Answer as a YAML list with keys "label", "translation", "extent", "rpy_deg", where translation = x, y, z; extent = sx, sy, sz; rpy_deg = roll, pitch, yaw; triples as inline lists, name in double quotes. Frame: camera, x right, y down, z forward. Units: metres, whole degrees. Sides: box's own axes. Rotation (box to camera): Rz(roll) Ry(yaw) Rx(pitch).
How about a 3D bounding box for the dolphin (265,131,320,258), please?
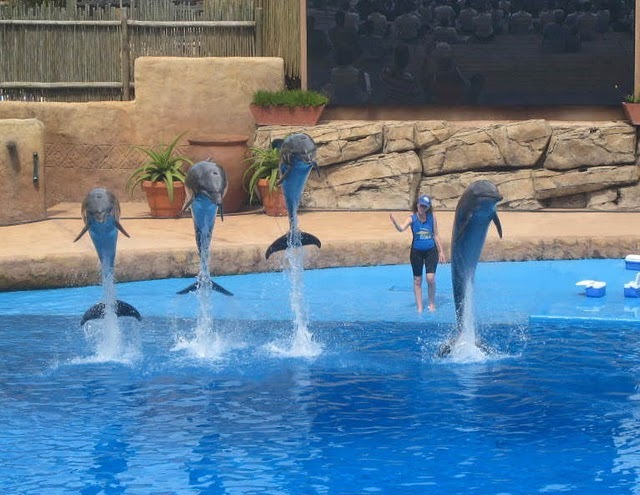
- label: "dolphin"
  translation: [-0.281, -0.449, 12.574]
  extent: [0.444, 1.438, 0.414]
  rpy_deg: [1, 37, -1]

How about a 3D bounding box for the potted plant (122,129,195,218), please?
- label: "potted plant"
  translation: [-2.155, -0.932, 17.223]
  extent: [0.944, 0.958, 0.718]
  rpy_deg: [3, 3, 33]

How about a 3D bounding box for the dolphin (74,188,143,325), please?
- label: "dolphin"
  translation: [-2.172, 0.135, 12.171]
  extent: [0.561, 1.524, 0.432]
  rpy_deg: [0, 38, -12]

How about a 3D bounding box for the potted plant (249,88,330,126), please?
- label: "potted plant"
  translation: [-0.463, -1.988, 17.841]
  extent: [1.096, 0.486, 0.383]
  rpy_deg: [-2, 11, -3]

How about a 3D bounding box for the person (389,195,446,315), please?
- label: "person"
  translation: [1.110, 0.030, 13.939]
  extent: [0.629, 1.294, 0.567]
  rpy_deg: [4, 15, 8]

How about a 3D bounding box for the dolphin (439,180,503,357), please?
- label: "dolphin"
  translation: [1.453, 0.233, 11.917]
  extent: [0.313, 1.777, 0.768]
  rpy_deg: [-6, 12, -22]

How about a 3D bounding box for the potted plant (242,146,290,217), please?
- label: "potted plant"
  translation: [-0.760, -0.776, 17.415]
  extent: [0.623, 1.111, 0.580]
  rpy_deg: [-14, 23, -43]
